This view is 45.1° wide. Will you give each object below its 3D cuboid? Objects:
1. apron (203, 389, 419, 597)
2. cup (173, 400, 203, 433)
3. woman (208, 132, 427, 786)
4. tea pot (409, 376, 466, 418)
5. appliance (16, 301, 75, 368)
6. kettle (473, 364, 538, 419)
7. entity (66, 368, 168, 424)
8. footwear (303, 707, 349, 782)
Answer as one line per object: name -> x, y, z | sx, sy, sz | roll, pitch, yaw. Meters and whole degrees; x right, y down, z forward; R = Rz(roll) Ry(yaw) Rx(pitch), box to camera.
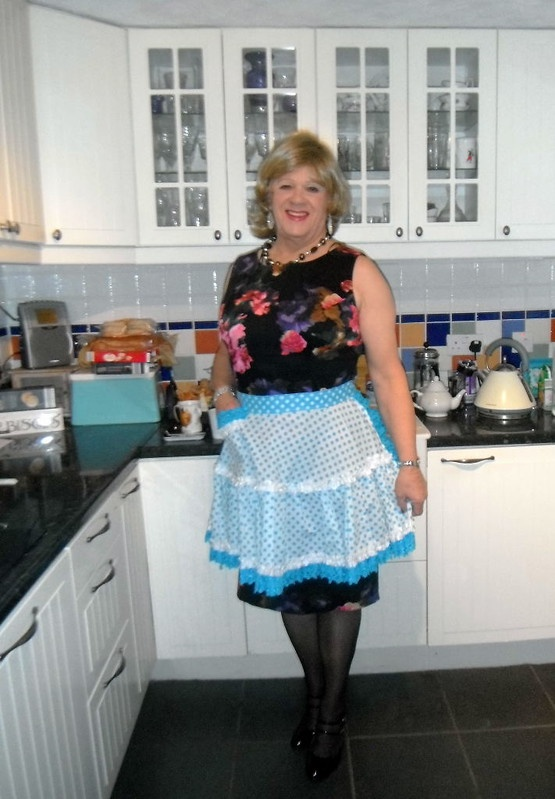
apron -> 0.089, 0.169, 1.622 | 0.630, 0.541, 0.434 | -3, 13, 2
cup -> -0.261, 0.056, 2.022 | 0.105, 0.104, 0.067 | -4, 5, 9
woman -> 0.088, 0.155, 1.630 | 0.569, 1.465, 0.522 | 6, 9, 38
tea pot -> 0.511, -0.010, 2.145 | 0.172, 0.120, 0.103 | 5, 13, 26
appliance -> -0.799, -0.222, 2.333 | 0.173, 0.232, 0.126 | -8, 0, -28
kettle -> 0.724, -0.032, 2.128 | 0.202, 0.170, 0.190 | -4, 7, -21
entity -> -0.531, 0.002, 2.163 | 0.208, 0.123, 0.203 | 1, 7, 5
footwear -> 0.131, 0.863, 1.710 | 0.070, 0.186, 0.074 | 3, -28, 26
